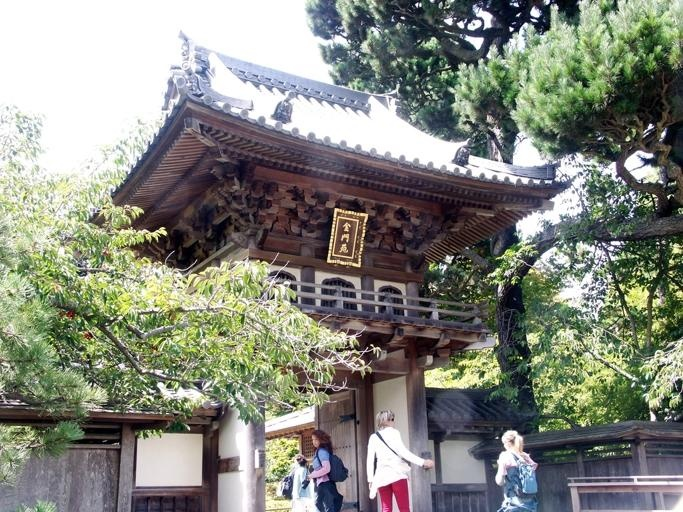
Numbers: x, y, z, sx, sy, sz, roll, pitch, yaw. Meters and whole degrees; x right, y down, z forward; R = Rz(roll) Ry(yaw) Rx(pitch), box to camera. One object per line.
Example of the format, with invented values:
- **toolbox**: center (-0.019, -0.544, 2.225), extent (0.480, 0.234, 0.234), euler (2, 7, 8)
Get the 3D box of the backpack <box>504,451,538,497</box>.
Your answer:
- **backpack**: center (2.225, 2.792, 8.110), extent (0.370, 0.610, 0.584), euler (5, -27, -13)
